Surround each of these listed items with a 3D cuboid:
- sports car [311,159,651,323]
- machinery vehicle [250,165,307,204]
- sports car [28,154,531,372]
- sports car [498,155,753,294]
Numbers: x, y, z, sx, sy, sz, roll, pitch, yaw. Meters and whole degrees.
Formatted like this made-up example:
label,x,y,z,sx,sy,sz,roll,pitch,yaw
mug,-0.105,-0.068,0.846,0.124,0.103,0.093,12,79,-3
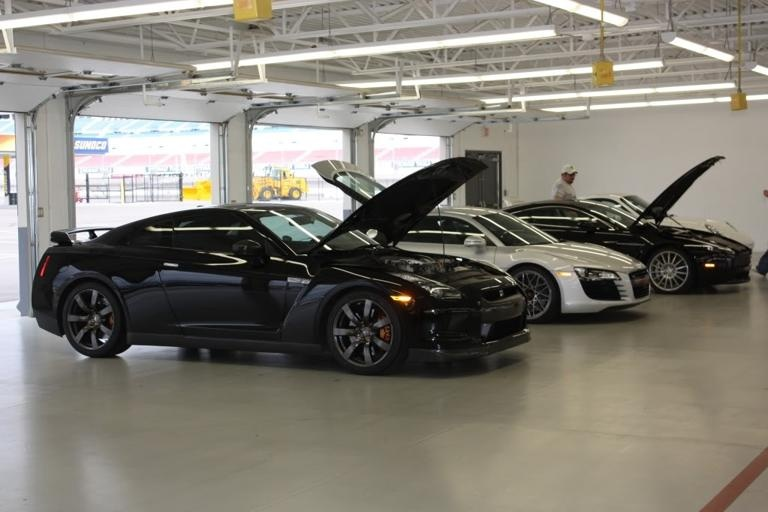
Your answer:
label,x,y,z,sx,sy,sz,roll,pitch,yaw
sports car,1.394,-0.359,8.691,4.333,1.281,1.625,9,23,12
machinery vehicle,-3.549,-2.412,17.221,0.713,0.825,2.442,27,24,35
sports car,-1.286,0.092,6.701,5.998,1.724,2.406,0,3,16
sports car,5.483,-0.891,11.837,2.593,2.117,5.755,-22,20,-33
